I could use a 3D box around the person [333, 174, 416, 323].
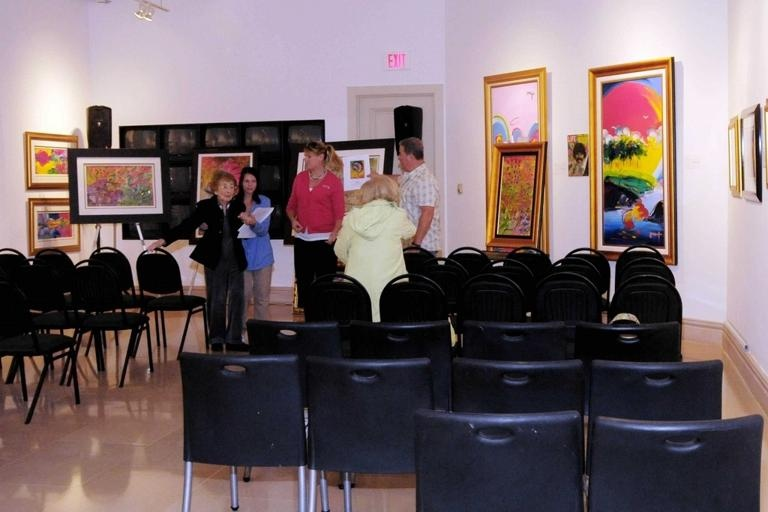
[{"bbox_3d":[-0.081,-0.063,5.453,0.694,1.232,0.516,-2,10,-6],"label":"person"}]

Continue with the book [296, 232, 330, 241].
[{"bbox_3d":[-0.820,-0.210,7.092,0.431,0.095,0.079,2,10,15],"label":"book"}]

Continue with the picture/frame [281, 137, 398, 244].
[{"bbox_3d":[-0.488,-0.735,7.074,1.434,1.565,0.072,-2,-3,17],"label":"picture/frame"}]

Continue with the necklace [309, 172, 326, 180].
[{"bbox_3d":[-0.748,-0.872,7.007,0.140,0.083,0.054,-1,10,1],"label":"necklace"}]

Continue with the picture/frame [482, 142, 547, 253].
[{"bbox_3d":[1.810,-0.810,8.749,0.809,1.485,0.328,6,12,37],"label":"picture/frame"}]

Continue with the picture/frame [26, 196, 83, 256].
[{"bbox_3d":[-4.859,-0.456,9.200,0.062,0.771,0.876,0,1,25],"label":"picture/frame"}]

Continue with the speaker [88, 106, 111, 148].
[{"bbox_3d":[-4.466,-2.003,9.774,0.377,0.634,0.423,-3,10,-11],"label":"speaker"}]

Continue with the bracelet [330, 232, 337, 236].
[{"bbox_3d":[-0.552,-0.239,6.968,0.042,0.045,0.045,2,3,1],"label":"bracelet"}]
